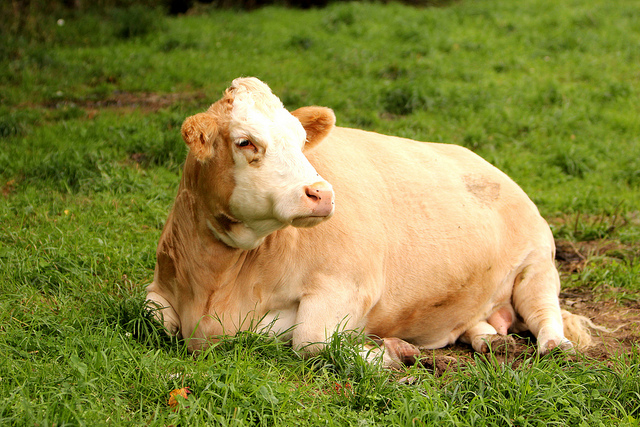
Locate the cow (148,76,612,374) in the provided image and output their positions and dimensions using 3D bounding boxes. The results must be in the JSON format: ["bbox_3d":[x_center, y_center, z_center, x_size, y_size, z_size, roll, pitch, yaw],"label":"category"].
[{"bbox_3d":[0.620,0.152,7.775,2.787,1.737,4.067,-8,-18,33],"label":"cow"}]
